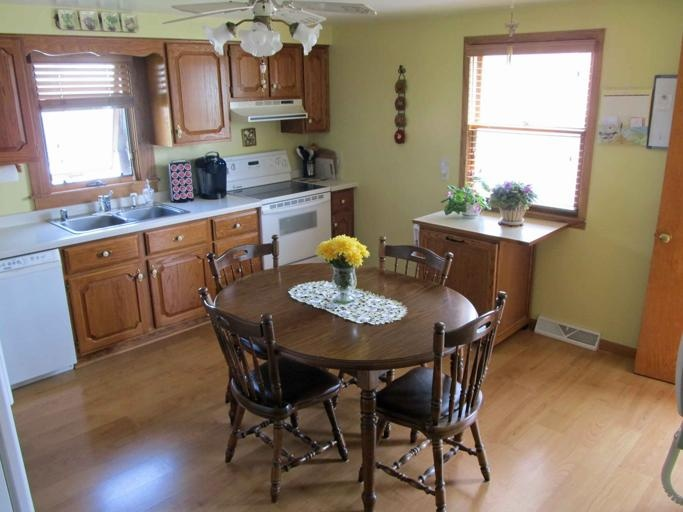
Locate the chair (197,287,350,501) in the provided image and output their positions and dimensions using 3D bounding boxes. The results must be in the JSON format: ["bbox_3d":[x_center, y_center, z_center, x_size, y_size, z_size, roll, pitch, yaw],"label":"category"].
[{"bbox_3d":[-0.349,0.742,2.977,0.692,1.012,0.593,-9,15,-42],"label":"chair"}]

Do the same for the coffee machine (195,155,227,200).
[{"bbox_3d":[-1.230,-0.762,4.882,0.310,0.415,0.313,11,21,31],"label":"coffee machine"}]

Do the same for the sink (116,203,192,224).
[{"bbox_3d":[-1.670,-0.365,4.468,0.354,0.141,0.282,-19,34,-40],"label":"sink"}]

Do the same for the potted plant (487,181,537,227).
[{"bbox_3d":[1.334,-0.440,4.125,0.355,0.342,0.348,5,17,23],"label":"potted plant"}]

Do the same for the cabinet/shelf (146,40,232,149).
[{"bbox_3d":[-1.343,-1.415,4.458,0.526,0.996,0.740,19,27,42],"label":"cabinet/shelf"}]

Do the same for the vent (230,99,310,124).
[{"bbox_3d":[-0.676,-1.415,5.008,0.246,0.189,0.807,15,24,39],"label":"vent"}]

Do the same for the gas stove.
[{"bbox_3d":[-0.654,-0.816,5.219,0.735,0.343,0.942,15,24,30],"label":"gas stove"}]

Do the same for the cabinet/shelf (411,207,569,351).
[{"bbox_3d":[1.127,0.077,4.413,0.944,0.845,0.575,12,32,36],"label":"cabinet/shelf"}]

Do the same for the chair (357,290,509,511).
[{"bbox_3d":[0.517,0.745,2.808,0.547,1.130,0.584,14,25,37],"label":"chair"}]

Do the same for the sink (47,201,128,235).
[{"bbox_3d":[-2.017,-0.371,4.185,0.377,0.187,0.350,19,27,34],"label":"sink"}]

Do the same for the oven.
[{"bbox_3d":[-0.587,-0.271,5.225,0.573,0.765,0.855,16,26,41],"label":"oven"}]

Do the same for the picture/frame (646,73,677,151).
[{"bbox_3d":[2.235,-1.003,3.633,0.173,0.498,0.093,14,25,36],"label":"picture/frame"}]

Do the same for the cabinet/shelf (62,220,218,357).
[{"bbox_3d":[-1.649,0.252,4.110,0.483,0.741,0.936,15,25,38],"label":"cabinet/shelf"}]

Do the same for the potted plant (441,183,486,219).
[{"bbox_3d":[1.017,-0.457,4.345,0.307,0.197,0.304,-12,19,-35],"label":"potted plant"}]

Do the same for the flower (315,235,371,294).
[{"bbox_3d":[0.000,0.040,3.078,0.351,0.361,0.329,-1,16,-4],"label":"flower"}]
